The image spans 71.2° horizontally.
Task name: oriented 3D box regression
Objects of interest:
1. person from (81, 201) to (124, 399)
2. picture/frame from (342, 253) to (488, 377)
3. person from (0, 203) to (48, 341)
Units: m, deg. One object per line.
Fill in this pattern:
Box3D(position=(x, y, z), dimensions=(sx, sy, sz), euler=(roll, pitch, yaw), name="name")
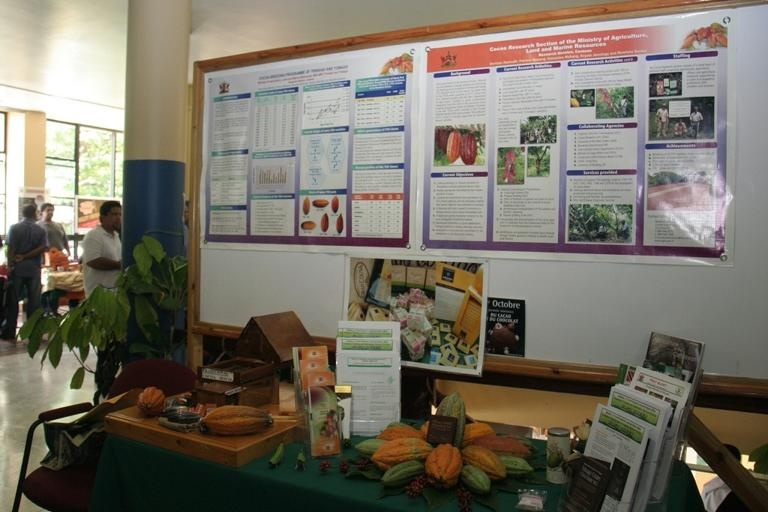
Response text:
Box3D(position=(-2.960, 0.363, 5.758), dimensions=(0.509, 1.782, 0.597), euler=(4, 2, -16), name="person")
Box3D(position=(0.207, 0.341, 2.973), dimensions=(0.705, 0.515, 0.078), euler=(2, -3, 14), name="picture/frame")
Box3D(position=(-5.263, 0.215, 7.764), dimensions=(0.322, 1.908, 0.588), euler=(5, 7, 39), name="person")
